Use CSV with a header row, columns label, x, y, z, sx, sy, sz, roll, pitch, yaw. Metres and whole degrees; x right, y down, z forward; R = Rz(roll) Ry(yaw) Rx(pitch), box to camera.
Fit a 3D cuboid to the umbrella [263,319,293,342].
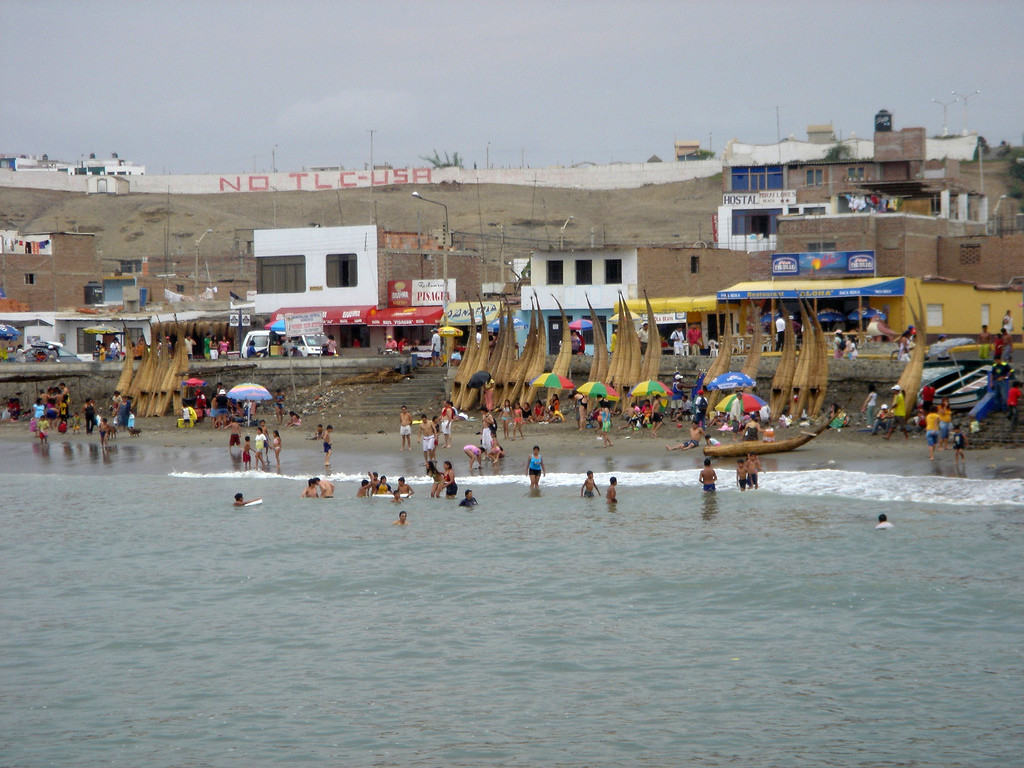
label,x,y,z,sx,sy,sz,roll,pitch,yaw
umbrella,-11.654,-2.626,127.905,1.360,0.585,1.384,3,7,43
